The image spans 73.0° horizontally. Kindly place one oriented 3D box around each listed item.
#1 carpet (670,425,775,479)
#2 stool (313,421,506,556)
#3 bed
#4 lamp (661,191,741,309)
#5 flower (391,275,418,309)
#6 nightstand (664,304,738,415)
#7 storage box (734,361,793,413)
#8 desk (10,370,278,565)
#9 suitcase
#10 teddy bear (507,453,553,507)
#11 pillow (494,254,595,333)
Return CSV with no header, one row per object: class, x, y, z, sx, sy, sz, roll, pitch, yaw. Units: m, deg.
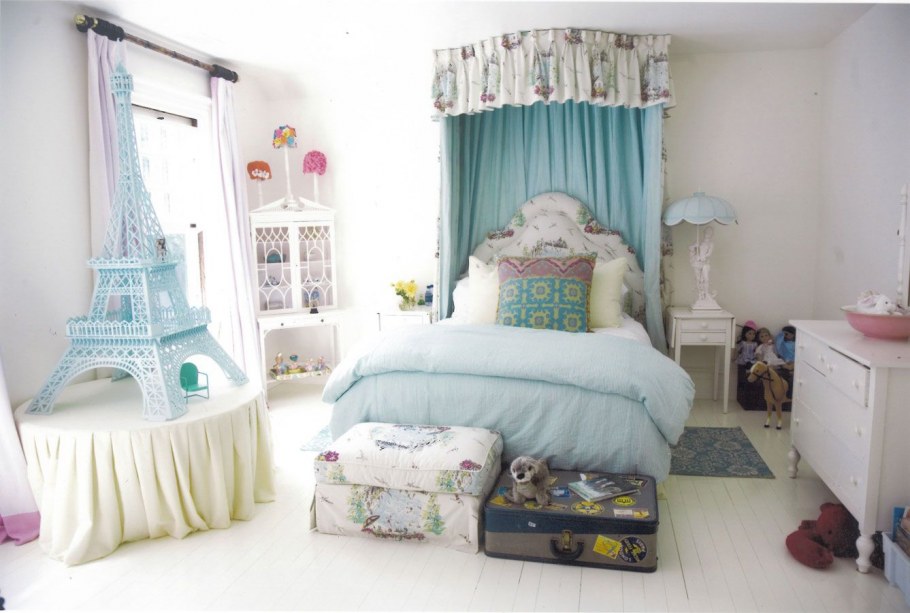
carpet,1.819,1.022,4.389,0.653,0.103,0.765,-3,8,11
stool,-0.297,0.985,3.441,0.864,0.430,0.661,2,22,10
bed,0.443,-0.570,4.422,2.321,2.814,1.962,2,16,19
lamp,2.065,-0.524,5.376,0.866,1.172,0.851,1,10,22
flower,-0.440,-0.116,5.682,0.248,0.270,0.261,-11,20,-27
nightstand,2.082,0.421,5.225,0.499,0.772,0.597,2,8,23
storage box,2.478,0.682,5.022,0.472,0.456,0.337,0,1,15
desk,-1.778,0.925,3.541,1.021,0.517,0.988,-2,9,6
suitcase,0.631,1.187,3.391,0.904,0.413,0.332,-3,9,12
teddy bear,0.399,0.938,3.324,0.220,0.252,0.246,-2,-11,12
pillow,0.669,-0.078,4.527,0.571,0.540,0.197,1,-33,9
